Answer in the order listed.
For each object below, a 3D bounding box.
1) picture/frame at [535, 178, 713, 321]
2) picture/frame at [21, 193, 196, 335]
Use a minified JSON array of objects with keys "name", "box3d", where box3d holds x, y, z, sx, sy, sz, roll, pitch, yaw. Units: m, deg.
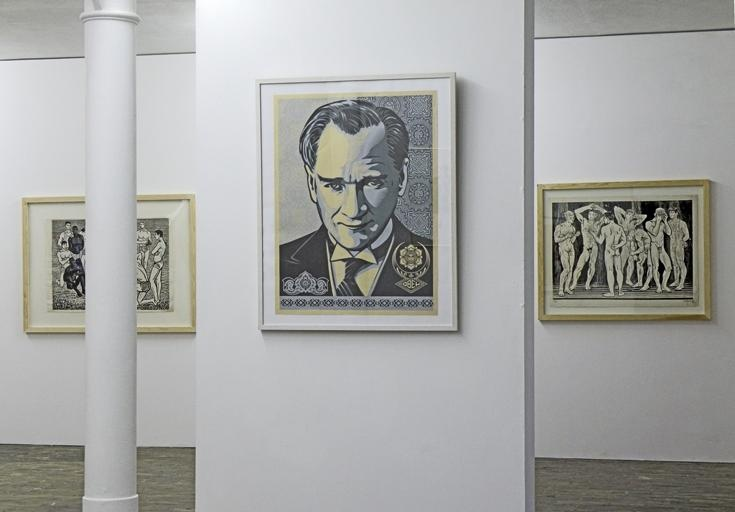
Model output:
[{"name":"picture/frame","box3d":[0.984,-0.030,3.148,0.556,0.421,0.024,0,1,9]},{"name":"picture/frame","box3d":[-0.937,0.048,3.207,0.600,0.485,0.187,-2,-13,-5]}]
